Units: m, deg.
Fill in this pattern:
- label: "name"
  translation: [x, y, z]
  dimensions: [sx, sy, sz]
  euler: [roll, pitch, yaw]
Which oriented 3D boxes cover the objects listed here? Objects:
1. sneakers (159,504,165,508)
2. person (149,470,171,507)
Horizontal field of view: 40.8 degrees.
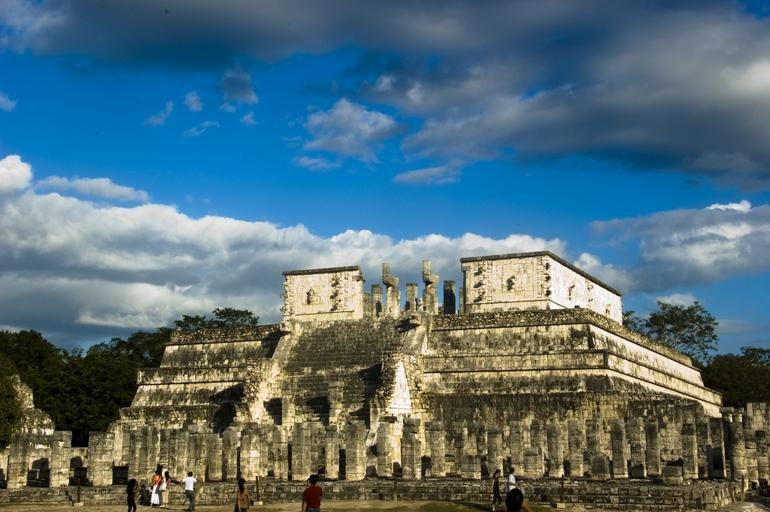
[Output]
- label: "sneakers"
  translation: [-13.093, 14.635, 60.969]
  dimensions: [0.311, 0.199, 0.583]
  euler: [6, -17, -11]
- label: "person"
  translation: [-13.405, 13.802, 61.725]
  dimensions: [0.983, 2.137, 1.155]
  euler: [7, -18, -11]
